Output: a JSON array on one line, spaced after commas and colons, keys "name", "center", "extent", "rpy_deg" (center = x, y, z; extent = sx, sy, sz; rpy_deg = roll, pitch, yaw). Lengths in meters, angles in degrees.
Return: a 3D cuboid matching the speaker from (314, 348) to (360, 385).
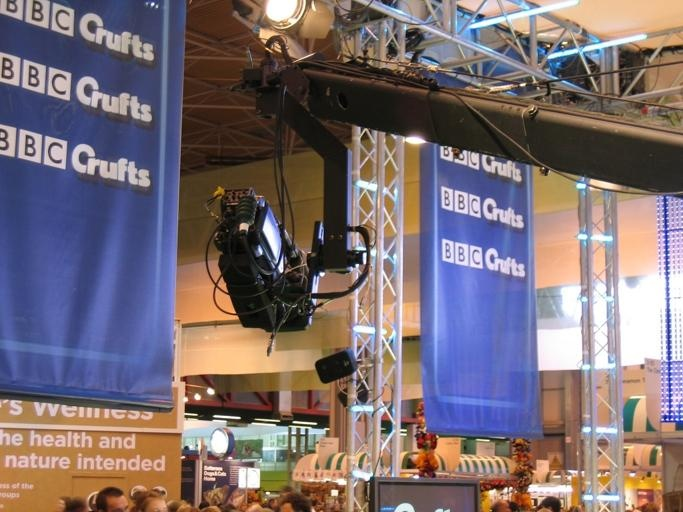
[{"name": "speaker", "center": [-0.026, 0.999, 10.671], "extent": [0.438, 0.311, 0.158], "rpy_deg": [-22, -3, 26]}]
